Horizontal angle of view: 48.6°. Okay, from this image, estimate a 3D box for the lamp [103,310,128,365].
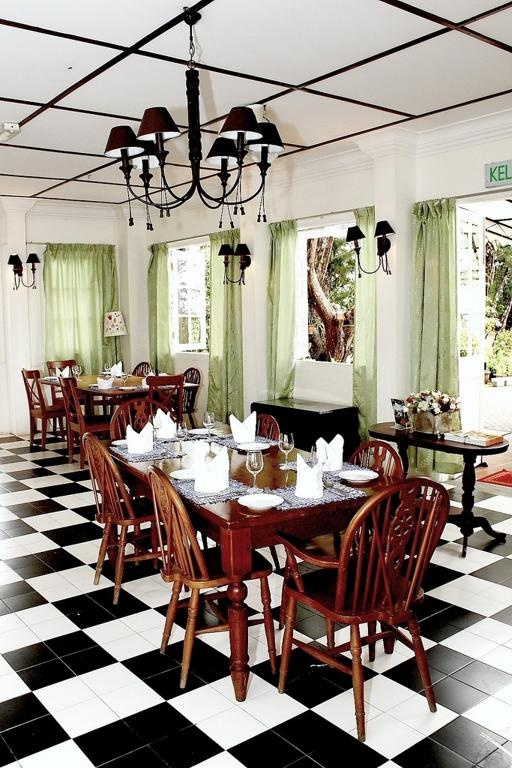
[{"bbox_3d":[-2.059,-0.701,8.329,0.329,0.763,0.457,-1,1,-16],"label":"lamp"}]

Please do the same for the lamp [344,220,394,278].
[{"bbox_3d":[1.024,-1.160,4.938,0.485,0.461,0.220,-15,12,-23],"label":"lamp"}]

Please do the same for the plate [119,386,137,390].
[{"bbox_3d":[-1.374,0.049,6.086,0.182,0.046,0.419,-1,1,-15],"label":"plate"}]

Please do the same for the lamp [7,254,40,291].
[{"bbox_3d":[-3.112,-1.484,7.539,0.516,0.586,0.333,-1,0,-22],"label":"lamp"}]

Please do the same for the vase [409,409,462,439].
[{"bbox_3d":[1.177,0.254,3.732,0.283,0.179,0.278,-4,4,-41],"label":"vase"}]

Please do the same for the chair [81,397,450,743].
[{"bbox_3d":[0.046,0.595,2.129,0.622,0.615,1.190,-4,7,-31],"label":"chair"}]

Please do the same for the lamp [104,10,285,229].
[{"bbox_3d":[-0.280,-1.225,2.611,0.748,0.907,0.819,2,11,19],"label":"lamp"}]

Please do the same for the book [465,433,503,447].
[{"bbox_3d":[1.373,0.334,3.418,0.205,0.054,0.245,-1,1,30],"label":"book"}]
